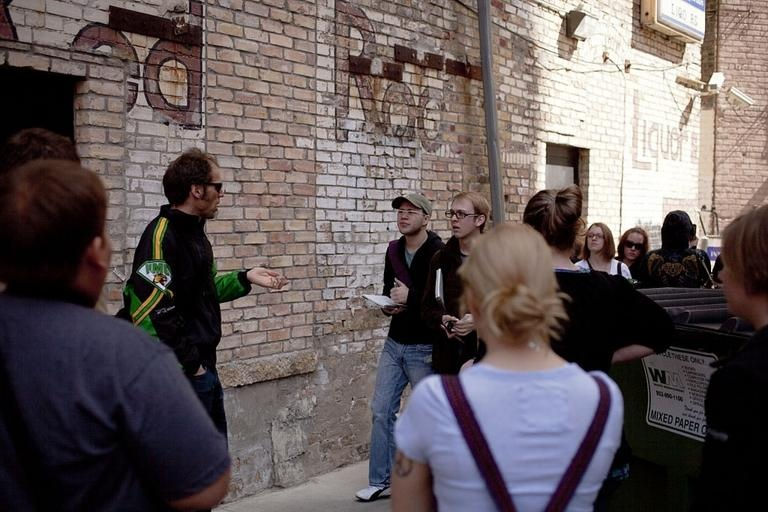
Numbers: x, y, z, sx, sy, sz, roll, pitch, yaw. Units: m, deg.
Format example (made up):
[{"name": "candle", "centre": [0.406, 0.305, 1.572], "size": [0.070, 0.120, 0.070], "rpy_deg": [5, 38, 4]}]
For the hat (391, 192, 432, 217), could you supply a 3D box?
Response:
[{"name": "hat", "centre": [0.260, -0.461, 5.014], "size": [0.294, 0.162, 0.206], "rpy_deg": [33, -8, -35]}]

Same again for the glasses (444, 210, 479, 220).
[{"name": "glasses", "centre": [0.641, -0.327, 4.551], "size": [0.169, 0.046, 0.166], "rpy_deg": [4, -2, -25]}]

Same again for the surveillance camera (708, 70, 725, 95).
[{"name": "surveillance camera", "centre": [6.961, -3.691, 12.421], "size": [0.358, 0.601, 0.148], "rpy_deg": [5, -7, 9]}]

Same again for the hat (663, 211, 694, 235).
[{"name": "hat", "centre": [3.087, -0.342, 6.229], "size": [0.249, 0.310, 0.331], "rpy_deg": [5, 27, 26]}]
